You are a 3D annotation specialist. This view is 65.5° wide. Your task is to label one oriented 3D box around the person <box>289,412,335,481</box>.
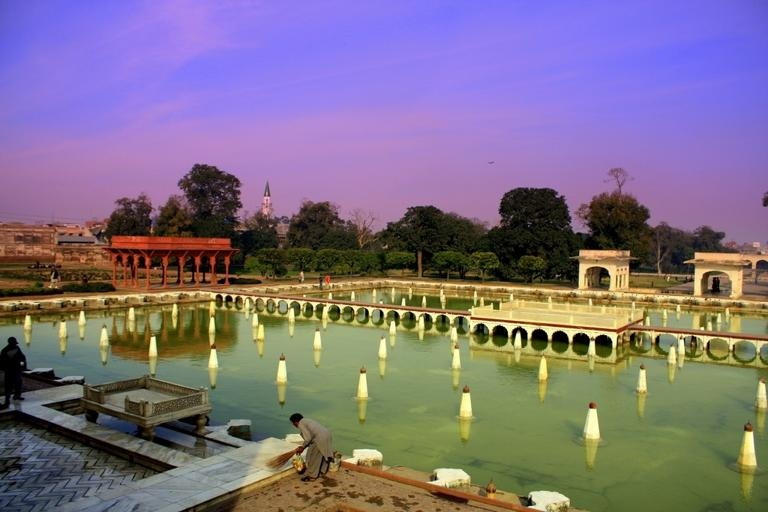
[{"bbox_3d":[-2.141,5.770,18.189,1.194,1.941,0.457,1,6,-5],"label":"person"}]
